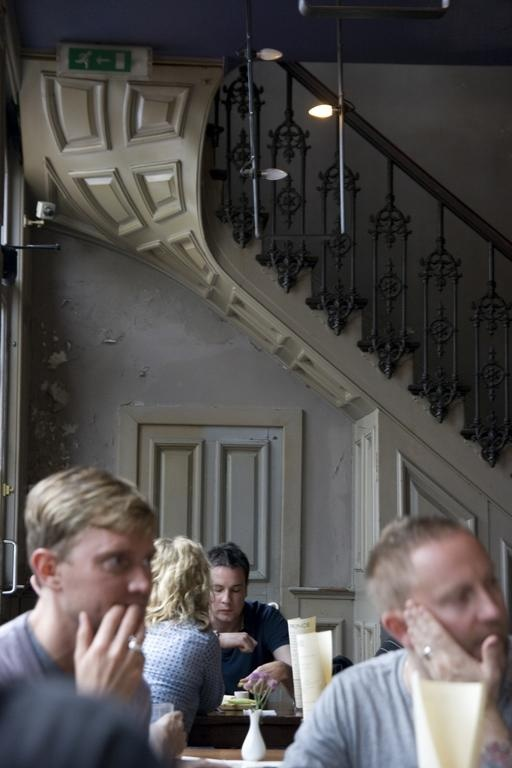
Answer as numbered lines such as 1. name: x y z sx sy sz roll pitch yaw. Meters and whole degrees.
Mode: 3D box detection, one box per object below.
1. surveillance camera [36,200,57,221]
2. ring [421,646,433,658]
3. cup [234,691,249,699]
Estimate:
1. surveillance camera: -1.168 -0.954 5.251 0.109 0.101 0.110 11 8 26
2. ring: 0.241 0.378 1.337 0.013 0.018 0.004 -2 -11 22
3. cup: -0.049 0.966 2.962 0.037 0.021 0.036 -1 -7 0
